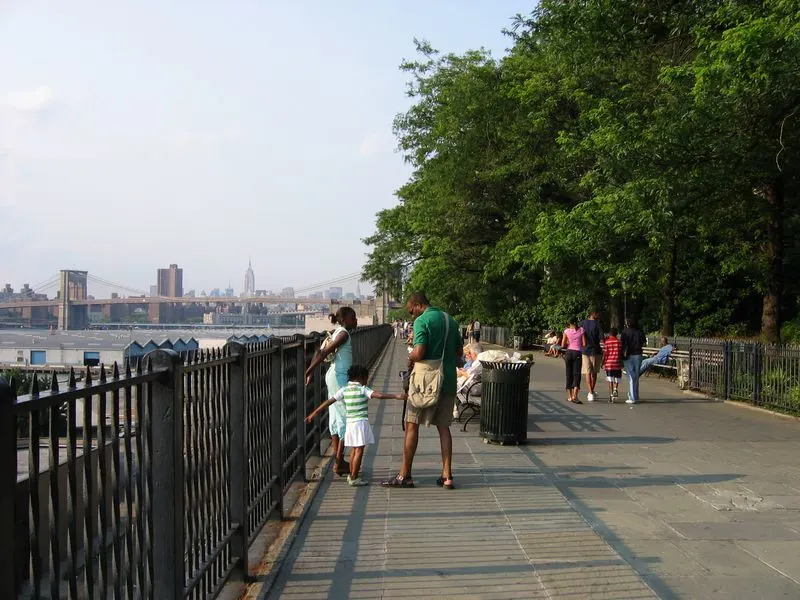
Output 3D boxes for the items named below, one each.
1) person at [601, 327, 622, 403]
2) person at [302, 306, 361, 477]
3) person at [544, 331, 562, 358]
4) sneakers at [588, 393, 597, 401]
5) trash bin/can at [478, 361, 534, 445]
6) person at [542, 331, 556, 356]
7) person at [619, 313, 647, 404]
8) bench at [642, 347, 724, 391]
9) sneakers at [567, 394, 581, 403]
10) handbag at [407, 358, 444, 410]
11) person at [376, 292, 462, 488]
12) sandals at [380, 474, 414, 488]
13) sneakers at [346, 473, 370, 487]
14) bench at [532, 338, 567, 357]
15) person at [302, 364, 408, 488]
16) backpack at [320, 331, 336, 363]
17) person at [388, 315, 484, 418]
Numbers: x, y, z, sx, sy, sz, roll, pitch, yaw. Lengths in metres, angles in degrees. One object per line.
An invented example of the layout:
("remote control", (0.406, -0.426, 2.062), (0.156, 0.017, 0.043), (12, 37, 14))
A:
("person", (4.250, 1.262, 17.620), (0.350, 1.425, 1.515), (-1, -2, 13))
("person", (-0.827, 0.931, 9.826), (0.666, 1.686, 0.649), (-1, 1, -30))
("person", (5.958, 1.704, 33.839), (0.691, 0.930, 1.540), (-1, -3, -5))
("sneakers", (3.736, 1.892, 17.246), (0.098, 0.123, 0.281), (0, -7, 4))
("trash bin/can", (1.366, 1.357, 11.717), (0.709, 1.029, 0.736), (3, -1, -24))
("person", (5.886, 1.749, 34.768), (0.527, 0.725, 1.201), (2, 5, 10))
("person", (4.478, 1.125, 17.070), (0.534, 1.598, 0.497), (1, -5, -9))
("bench", (6.393, 1.508, 20.299), (1.044, 1.009, 4.535), (-1, -2, 8))
("sneakers", (3.326, 1.875, 16.916), (0.093, 0.122, 0.284), (5, 4, 22))
("handbag", (0.297, 0.848, 9.071), (0.400, 0.530, 0.285), (2, -3, 40))
("person", (0.269, 0.916, 9.175), (0.740, 2.016, 0.793), (-1, -1, 2))
("sandals", (-0.021, 1.868, 9.139), (0.244, 0.100, 0.140), (6, -6, 7))
("sneakers", (-0.443, 1.873, 9.230), (0.241, 0.108, 0.088), (1, 2, -10))
("bench", (6.083, 1.998, 35.715), (0.712, 0.979, 1.997), (4, 3, 34))
("person", (-0.568, 1.512, 10.368), (1.087, 1.170, 0.430), (2, 13, 18))
("backpack", (-0.818, 0.481, 9.914), (0.158, 0.401, 0.287), (10, -4, -3))
("person", (0.553, 1.062, 14.253), (1.098, 1.802, 0.688), (3, -2, 24))
